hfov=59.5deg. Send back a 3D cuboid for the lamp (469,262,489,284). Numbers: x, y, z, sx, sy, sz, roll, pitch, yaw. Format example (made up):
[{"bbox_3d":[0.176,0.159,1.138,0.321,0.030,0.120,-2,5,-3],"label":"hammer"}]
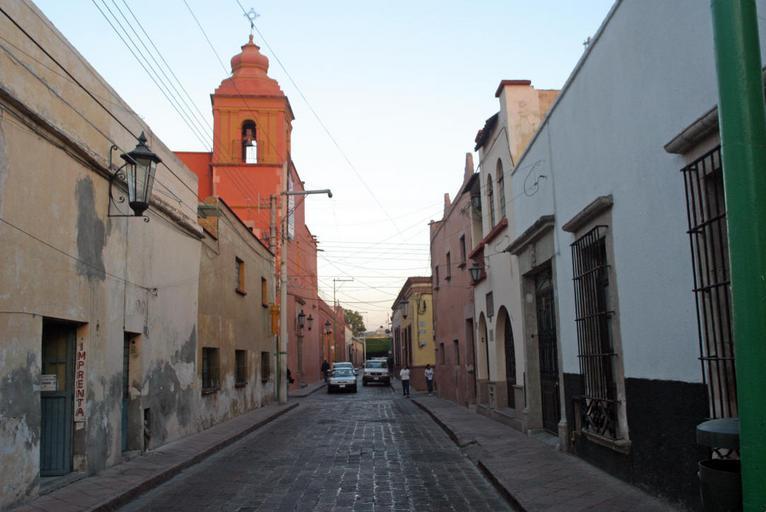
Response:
[{"bbox_3d":[2.875,0.489,20.273,0.469,0.786,0.535,2,0,12],"label":"lamp"}]

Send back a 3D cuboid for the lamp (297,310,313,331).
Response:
[{"bbox_3d":[-4.936,3.993,41.494,0.641,1.172,1.525,-4,-5,3],"label":"lamp"}]

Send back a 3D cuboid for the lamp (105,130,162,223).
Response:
[{"bbox_3d":[-4.849,-1.564,12.920,0.913,1.695,1.739,1,-7,-26],"label":"lamp"}]
